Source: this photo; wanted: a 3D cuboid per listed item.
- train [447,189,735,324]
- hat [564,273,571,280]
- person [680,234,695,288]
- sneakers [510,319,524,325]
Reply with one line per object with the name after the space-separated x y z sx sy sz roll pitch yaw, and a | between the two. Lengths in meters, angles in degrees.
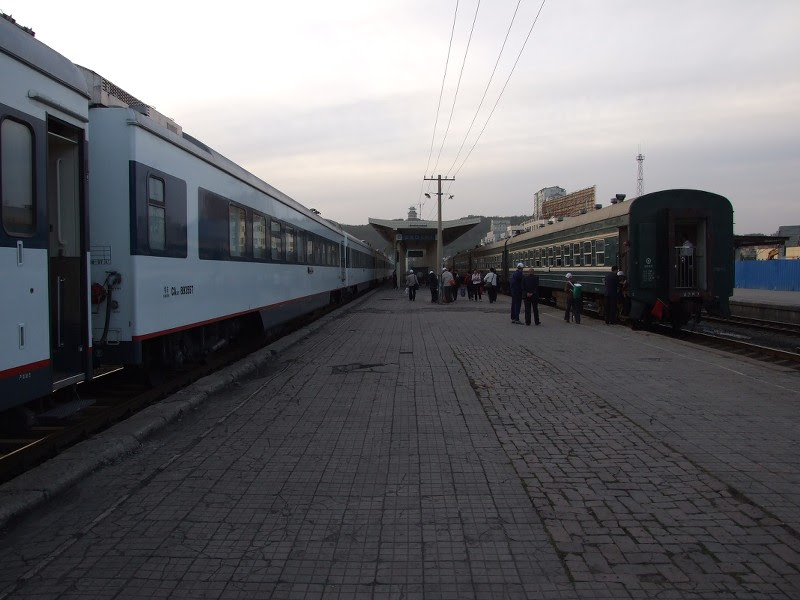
7.124 -1.664 25.985 2.406 4.687 20.252 0 3 -1 | train
5.646 -0.801 20.535 0.230 0.135 0.344 1 -11 -12 | hat
7.696 -0.946 16.291 0.384 1.156 0.596 2 8 22 | person
3.432 0.669 17.931 0.344 0.128 0.265 -2 -29 -1 | sneakers
